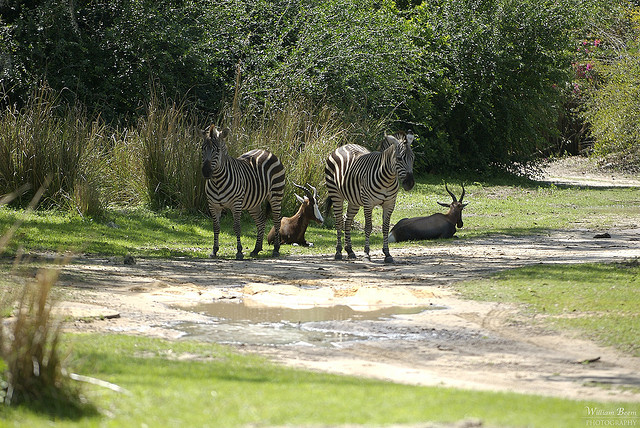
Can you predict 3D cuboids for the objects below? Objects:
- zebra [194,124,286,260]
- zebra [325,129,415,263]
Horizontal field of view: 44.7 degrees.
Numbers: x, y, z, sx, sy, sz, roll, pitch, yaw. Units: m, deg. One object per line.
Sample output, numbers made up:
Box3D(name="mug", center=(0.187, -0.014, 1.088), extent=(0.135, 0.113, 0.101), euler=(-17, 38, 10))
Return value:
Box3D(name="zebra", center=(-1.704, -0.338, 16.120), extent=(0.952, 2.611, 3.386), euler=(2, -1, 21))
Box3D(name="zebra", center=(1.060, -0.338, 16.003), extent=(0.939, 2.682, 3.493), euler=(-1, 2, -24))
